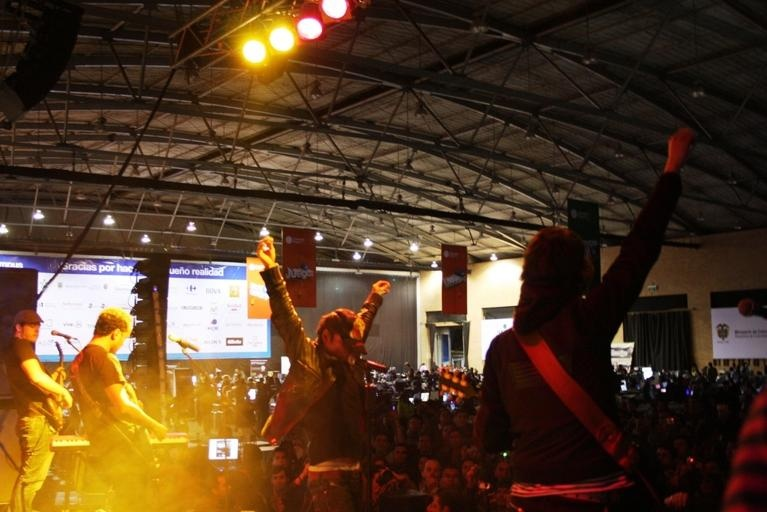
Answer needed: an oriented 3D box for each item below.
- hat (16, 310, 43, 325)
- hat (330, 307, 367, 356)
[{"bbox_3d":[-4.079,0.720,7.295,0.238,0.112,0.171,-9,-10,0],"label":"hat"},{"bbox_3d":[-0.366,0.689,5.515,0.287,0.401,0.169,-2,-24,-46],"label":"hat"}]
